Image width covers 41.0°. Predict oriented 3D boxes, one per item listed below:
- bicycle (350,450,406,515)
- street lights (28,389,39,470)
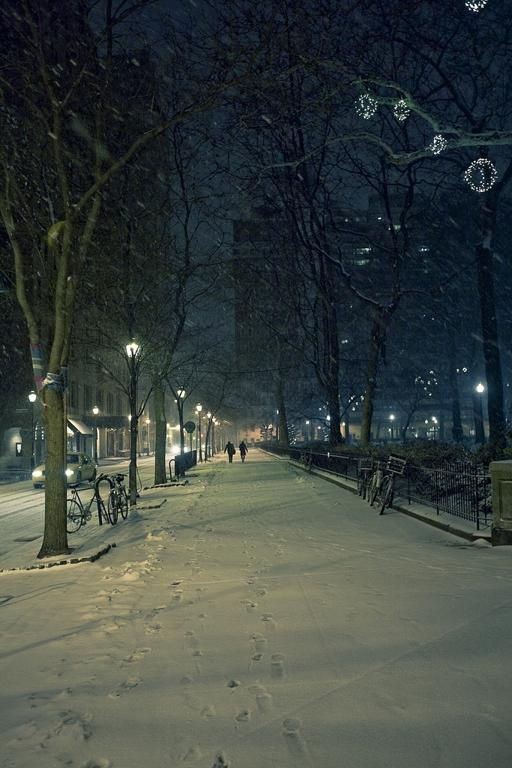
[{"bbox_3d":[3.085,2.484,16.937,0.800,0.995,1.735,17,-8,-7],"label":"bicycle"},{"bbox_3d":[-13.954,3.065,43.060,0.671,4.678,0.623,-1,0,-21],"label":"street lights"}]
